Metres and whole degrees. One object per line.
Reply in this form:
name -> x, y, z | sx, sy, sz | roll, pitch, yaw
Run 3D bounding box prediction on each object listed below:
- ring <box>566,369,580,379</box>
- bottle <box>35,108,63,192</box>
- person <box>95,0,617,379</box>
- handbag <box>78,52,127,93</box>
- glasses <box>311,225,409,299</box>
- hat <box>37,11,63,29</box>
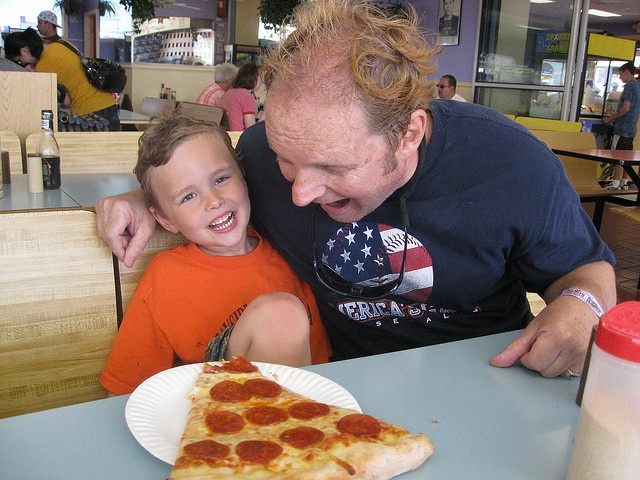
ring -> 0.508, 0.269, 1.012 | 0.018, 0.009, 0.018 | 1, 46, -1
bottle -> -1.090, -0.366, 2.027 | 0.077, 0.289, 0.292 | -7, 16, -27
person -> 0.174, -0.063, 1.313 | 1.093, 0.992, 0.626 | 7, 16, 24
handbag -> -1.999, -1.538, 4.560 | 0.429, 0.221, 0.413 | 28, -14, -27
glasses -> 0.112, 0.033, 1.472 | 0.199, 0.222, 0.062 | 5, 11, 25
hat -> -3.074, -2.507, 5.814 | 0.188, 0.161, 0.272 | 18, 24, 36
